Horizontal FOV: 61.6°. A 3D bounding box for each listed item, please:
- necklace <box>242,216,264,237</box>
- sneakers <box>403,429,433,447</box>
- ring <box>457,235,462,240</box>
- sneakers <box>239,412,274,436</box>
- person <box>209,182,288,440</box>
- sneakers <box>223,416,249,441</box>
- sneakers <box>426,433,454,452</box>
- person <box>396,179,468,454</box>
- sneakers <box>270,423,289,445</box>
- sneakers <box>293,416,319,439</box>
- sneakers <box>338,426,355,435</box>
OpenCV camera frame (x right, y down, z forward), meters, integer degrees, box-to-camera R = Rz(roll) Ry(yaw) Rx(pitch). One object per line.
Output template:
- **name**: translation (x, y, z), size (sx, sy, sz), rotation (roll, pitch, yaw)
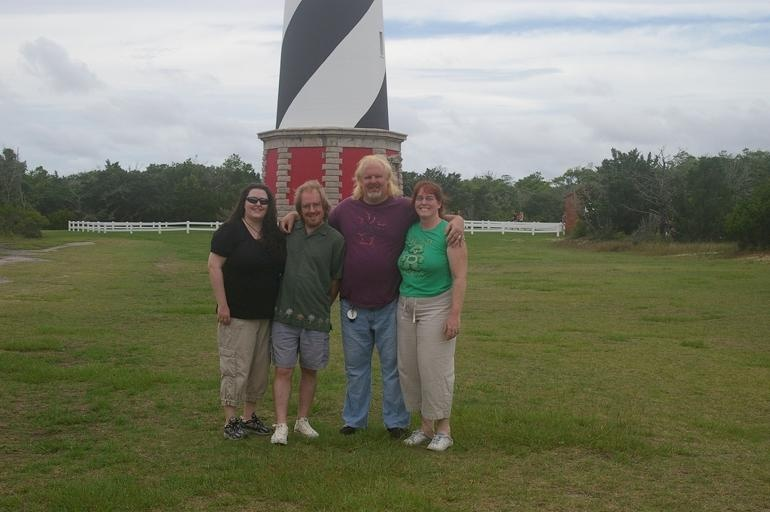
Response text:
- **necklace**: translation (-1.477, -0.310, 7.246), size (0.252, 0.182, 0.178), rotation (34, 14, 22)
- **sneakers**: translation (0.354, 1.989, 7.090), size (0.325, 0.135, 0.132), rotation (5, -8, -31)
- **ring**: translation (0.800, -0.205, 6.963), size (0.059, 0.051, 0.028), rotation (2, 2, -17)
- **sneakers**: translation (-1.410, 1.887, 7.261), size (0.448, 0.212, 0.153), rotation (9, -2, -4)
- **person**: translation (-1.535, 0.581, 7.133), size (0.814, 2.780, 0.366), rotation (2, 1, -14)
- **sneakers**: translation (-1.635, 1.869, 7.075), size (0.247, 0.213, 0.228), rotation (2, 2, -24)
- **sneakers**: translation (0.612, 1.983, 6.904), size (0.310, 0.124, 0.136), rotation (2, 2, -22)
- **person**: translation (0.474, 0.616, 7.052), size (0.735, 1.942, 0.455), rotation (3, 1, 10)
- **sneakers**: translation (-1.133, 1.905, 6.952), size (0.178, 0.204, 0.205), rotation (2, 2, -7)
- **sneakers**: translation (-0.881, 1.903, 7.220), size (0.133, 0.145, 0.360), rotation (-3, 1, -39)
- **sneakers**: translation (-0.431, 1.949, 7.197), size (0.174, 0.074, 0.069), rotation (6, -2, -12)
